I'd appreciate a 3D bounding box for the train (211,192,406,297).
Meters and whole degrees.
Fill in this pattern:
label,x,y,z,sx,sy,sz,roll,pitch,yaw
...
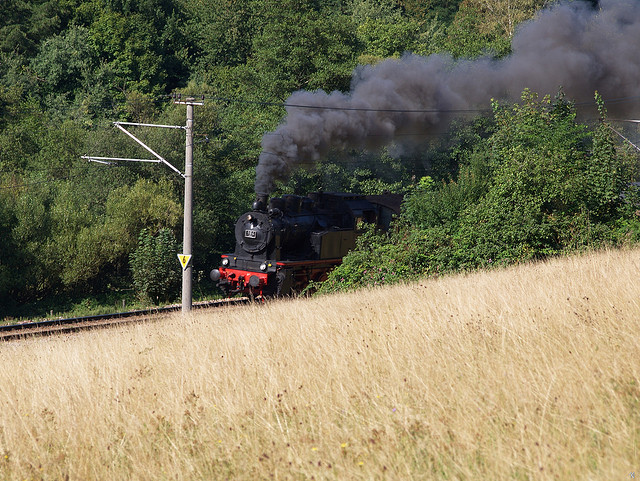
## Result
label,x,y,z,sx,sy,sz,roll,pitch,yaw
train,0.079,-0.124,25.961,2.801,3.664,8.171,4,7,37
